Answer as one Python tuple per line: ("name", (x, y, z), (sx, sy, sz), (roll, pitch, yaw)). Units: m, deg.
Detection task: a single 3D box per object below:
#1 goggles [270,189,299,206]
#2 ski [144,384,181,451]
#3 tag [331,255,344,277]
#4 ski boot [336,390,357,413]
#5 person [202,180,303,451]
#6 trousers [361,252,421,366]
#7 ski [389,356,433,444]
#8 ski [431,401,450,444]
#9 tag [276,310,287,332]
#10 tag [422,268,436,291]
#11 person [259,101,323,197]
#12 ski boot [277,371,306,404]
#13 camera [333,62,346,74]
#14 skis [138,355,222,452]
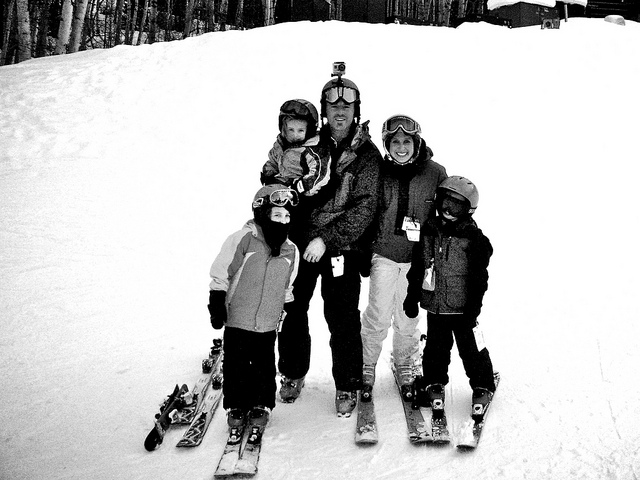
("goggles", (-0.328, -0.391, 5.314), (0.168, 0.080, 0.169), (-1, -4, -16))
("ski", (-1.461, 1.663, 5.442), (0.086, 0.138, 0.582), (41, 34, -2))
("tag", (0.163, 0.248, 5.586), (0.128, 0.196, 0.035), (4, 3, -10))
("ski boot", (0.252, 1.543, 5.613), (0.206, 0.196, 0.142), (5, 3, 0))
("person", (-0.624, 0.657, 5.313), (0.749, 2.350, 0.459), (4, 3, -2))
("trousers", (0.719, 0.704, 5.853), (0.601, 1.128, 0.277), (4, 3, 1))
("ski", (0.870, 1.548, 5.571), (0.194, 0.093, 1.198), (-1, 27, -8))
("ski", (1.066, 1.615, 5.283), (0.150, 0.487, 0.063), (-10, 25, 4))
("tag", (-0.359, 0.755, 5.450), (0.129, 0.139, 0.155), (6, -13, 6))
("tag", (1.020, 0.363, 5.494), (0.119, 0.210, 0.050), (2, 1, 10))
("person", (-0.278, -0.875, 5.722), (0.613, 0.959, 0.516), (4, 10, 1))
("ski boot", (-0.293, 1.457, 5.859), (0.132, 0.177, 0.380), (-4, 23, 16))
("camera", (0.194, -1.732, 5.914), (0.116, 0.112, 0.123), (0, 9, -5))
("skis", (-1.343, 1.597, 5.672), (0.212, 0.175, 1.508), (23, 23, 0))
